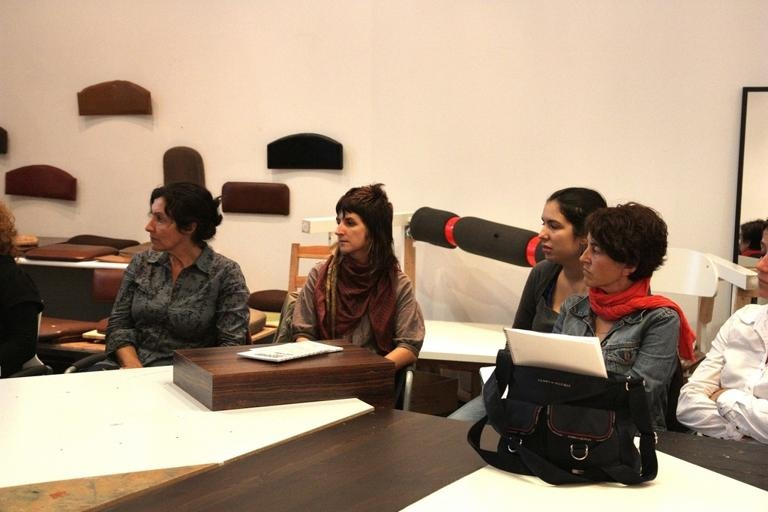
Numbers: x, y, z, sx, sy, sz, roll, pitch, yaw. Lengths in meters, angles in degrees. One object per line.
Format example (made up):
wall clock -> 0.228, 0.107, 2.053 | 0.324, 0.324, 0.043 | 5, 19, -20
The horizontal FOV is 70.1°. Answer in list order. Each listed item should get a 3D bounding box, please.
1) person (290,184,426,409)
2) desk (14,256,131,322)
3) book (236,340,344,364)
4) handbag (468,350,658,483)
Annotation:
person -> -0.144, 0.205, 3.016 | 0.744, 1.120, 0.681 | 3, 7, 17
desk -> -2.477, 0.254, 4.389 | 0.563, 0.254, 0.369 | 3, 12, 4
book -> -0.424, 0.418, 2.457 | 0.435, 0.029, 0.264 | -2, 7, -36
handbag -> 0.567, 0.518, 1.726 | 0.640, 0.389, 0.354 | 3, 15, 25
